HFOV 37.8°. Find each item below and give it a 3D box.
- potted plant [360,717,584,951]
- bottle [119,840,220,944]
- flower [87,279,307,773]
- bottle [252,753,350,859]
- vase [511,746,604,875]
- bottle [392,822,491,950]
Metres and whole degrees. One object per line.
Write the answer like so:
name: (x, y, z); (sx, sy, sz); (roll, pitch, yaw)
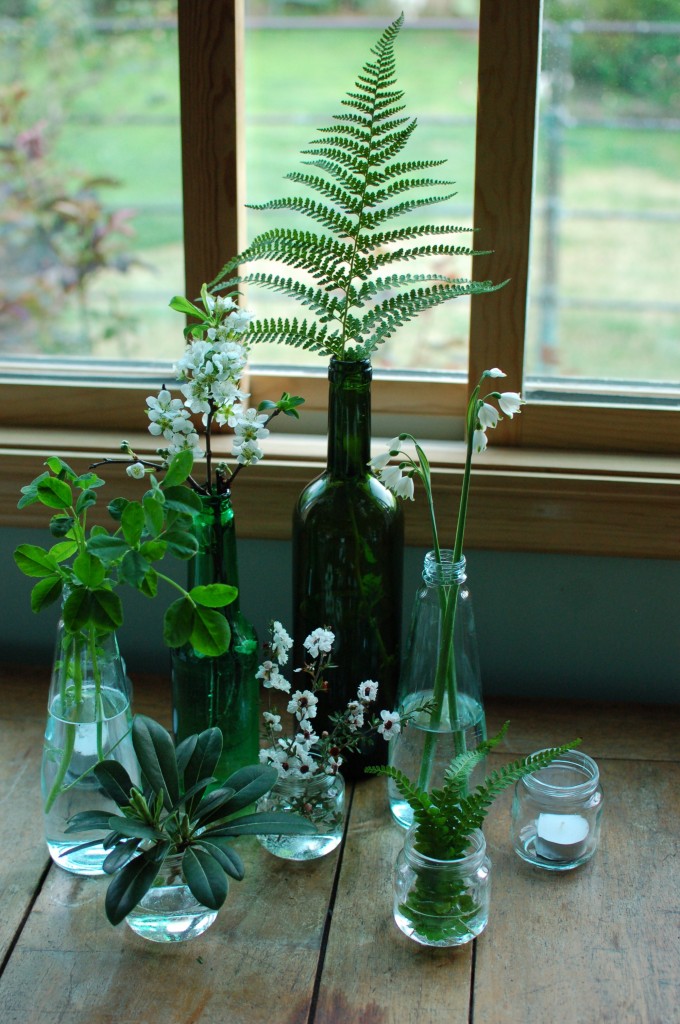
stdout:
potted plant: (0.096, 0.255, 0.781); (0.157, 0.158, 0.066); (-5, 15, -18)
bottle: (-0.133, 0.304, 0.782); (0.061, 0.054, 0.057); (0, -6, -14)
flower: (-0.135, 0.048, 0.933); (0.170, 0.398, 0.144); (-2, -4, -3)
bottle: (-0.024, 0.257, 0.870); (0.086, 0.077, 0.081); (2, 10, 8)
vase: (0.189, 0.272, 0.917); (0.092, 0.099, 0.094); (-1, 17, -3)
bottle: (0.083, 0.303, 0.790); (0.068, 0.065, 0.072); (9, -13, -42)
